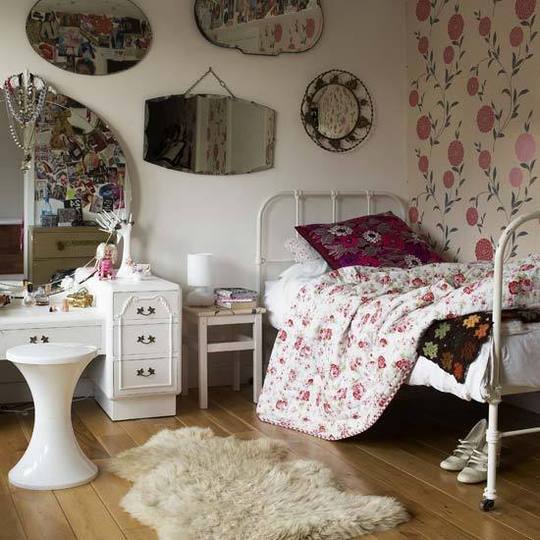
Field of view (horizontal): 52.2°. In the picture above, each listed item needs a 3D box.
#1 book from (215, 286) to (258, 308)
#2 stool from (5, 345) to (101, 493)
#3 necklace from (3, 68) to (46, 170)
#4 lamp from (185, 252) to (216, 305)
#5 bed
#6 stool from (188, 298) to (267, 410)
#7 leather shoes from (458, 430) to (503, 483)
[{"bbox_3d":[-0.174,0.159,3.088,0.136,0.074,0.178,1,2,-20],"label":"book"},{"bbox_3d":[-0.785,0.516,1.995,0.299,0.461,0.310,0,2,-20],"label":"stool"},{"bbox_3d":[-1.268,-0.776,2.860,0.218,0.514,0.063,0,2,-20],"label":"necklace"},{"bbox_3d":[-0.398,0.052,3.169,0.162,0.297,0.317,0,2,-8],"label":"lamp"},{"bbox_3d":[0.716,0.078,2.697,1.062,0.980,1.742,-4,7,-31],"label":"bed"},{"bbox_3d":[-0.322,0.478,3.174,0.587,0.659,0.544,1,-6,-18],"label":"stool"},{"bbox_3d":[0.779,0.689,2.071,0.305,0.104,0.102,-15,13,-41],"label":"leather shoes"}]
